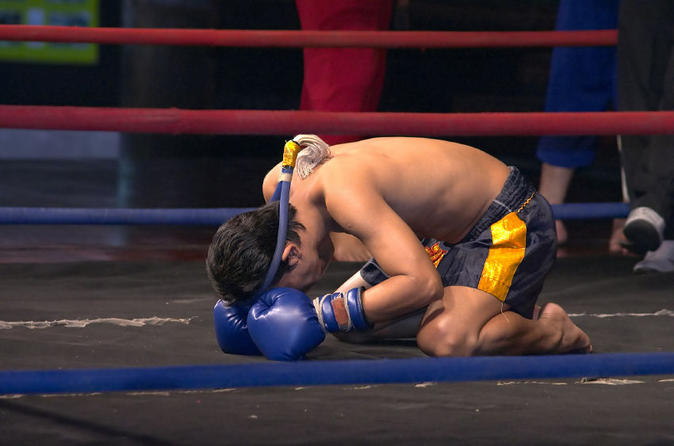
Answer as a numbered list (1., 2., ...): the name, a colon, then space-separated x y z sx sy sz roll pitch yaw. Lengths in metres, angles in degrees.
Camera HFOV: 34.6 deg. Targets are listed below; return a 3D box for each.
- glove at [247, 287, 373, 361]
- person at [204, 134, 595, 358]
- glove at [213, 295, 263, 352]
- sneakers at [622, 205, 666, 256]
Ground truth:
1. glove: -0.151 0.372 4.137 0.487 0.194 0.243 -13 28 -14
2. person: 0.243 0.122 4.501 1.514 0.924 0.875 -13 23 0
3. glove: -0.406 0.410 4.258 0.260 0.193 0.200 -5 37 -5
4. sneakers: 1.377 0.048 4.898 0.176 0.252 0.123 9 49 14
